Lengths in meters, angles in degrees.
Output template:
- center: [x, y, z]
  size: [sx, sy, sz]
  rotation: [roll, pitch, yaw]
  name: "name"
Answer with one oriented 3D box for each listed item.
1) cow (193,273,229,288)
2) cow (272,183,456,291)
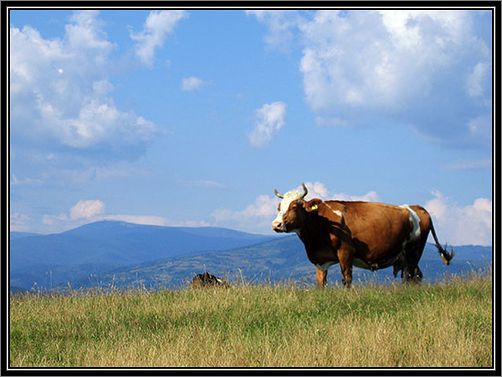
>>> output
- center: [-1.346, 2.844, 15.198]
  size: [0.550, 0.382, 0.731]
  rotation: [11, -10, -36]
  name: "cow"
- center: [3.257, 1.587, 13.755]
  size: [5.083, 3.020, 1.421]
  rotation: [4, -11, -12]
  name: "cow"
